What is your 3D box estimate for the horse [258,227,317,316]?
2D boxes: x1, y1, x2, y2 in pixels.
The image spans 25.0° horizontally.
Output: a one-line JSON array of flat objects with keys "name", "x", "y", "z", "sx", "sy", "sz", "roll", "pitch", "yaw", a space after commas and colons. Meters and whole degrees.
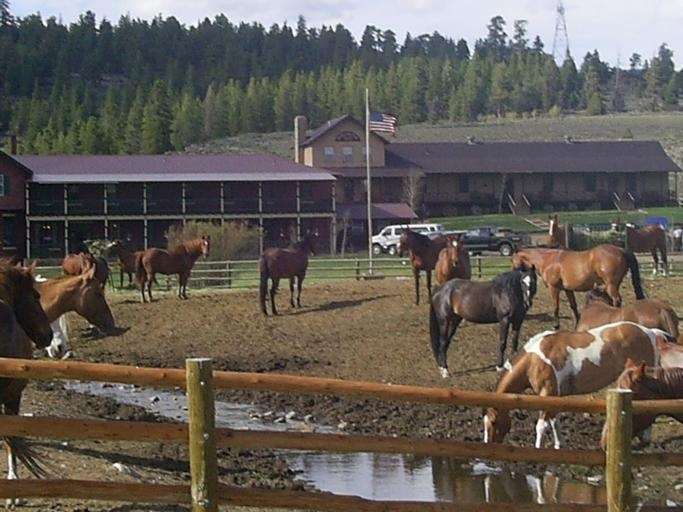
[{"name": "horse", "x": -7.309, "y": 2.831, "z": 201.906, "sx": 6.866, "sy": 10.299, "sz": 2.795, "roll": 0, "pitch": 5, "yaw": -11}]

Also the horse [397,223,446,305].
[{"name": "horse", "x": 10.856, "y": 0.071, "z": 202.898, "sx": 5.003, "sy": 10.947, "sz": 5.120, "roll": 1, "pitch": 8, "yaw": 25}]

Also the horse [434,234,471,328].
[{"name": "horse", "x": 14.228, "y": 1.400, "z": 202.714, "sx": 3.712, "sy": 9.398, "sz": 12.749, "roll": -8, "pitch": 9, "yaw": -5}]
